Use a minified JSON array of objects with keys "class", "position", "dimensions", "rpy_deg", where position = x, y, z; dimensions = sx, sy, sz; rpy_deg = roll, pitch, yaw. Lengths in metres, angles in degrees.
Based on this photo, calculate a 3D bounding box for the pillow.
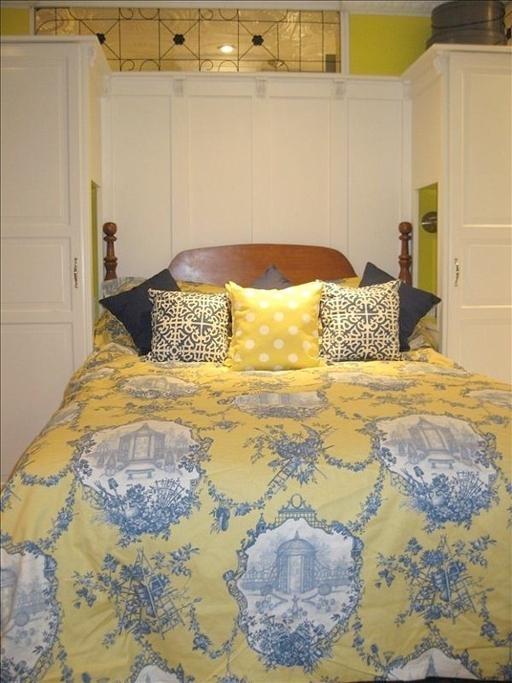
[{"class":"pillow","position":[0.033,-0.225,3.003],"dimensions":[1.277,0.442,0.689],"rpy_deg":[1,10,-3]}]
